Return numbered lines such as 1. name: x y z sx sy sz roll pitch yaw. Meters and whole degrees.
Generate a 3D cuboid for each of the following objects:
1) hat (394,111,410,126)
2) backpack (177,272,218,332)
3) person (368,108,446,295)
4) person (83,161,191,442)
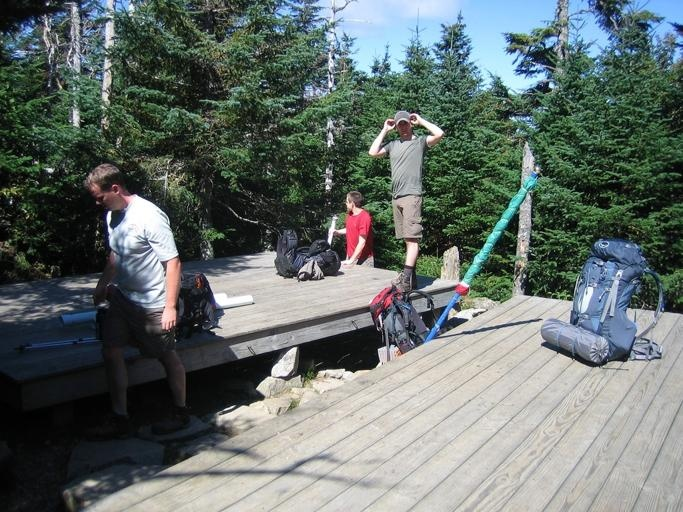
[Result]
1. hat: 0.785 -1.766 6.251 0.151 0.205 0.204 -7 21 0
2. backpack: -1.511 0.519 5.174 0.455 0.561 0.628 -2 -6 -37
3. person: 0.820 -0.714 6.429 0.854 2.292 1.147 0 14 -4
4. person: -1.777 0.456 4.281 0.765 2.476 0.694 -4 15 -18
